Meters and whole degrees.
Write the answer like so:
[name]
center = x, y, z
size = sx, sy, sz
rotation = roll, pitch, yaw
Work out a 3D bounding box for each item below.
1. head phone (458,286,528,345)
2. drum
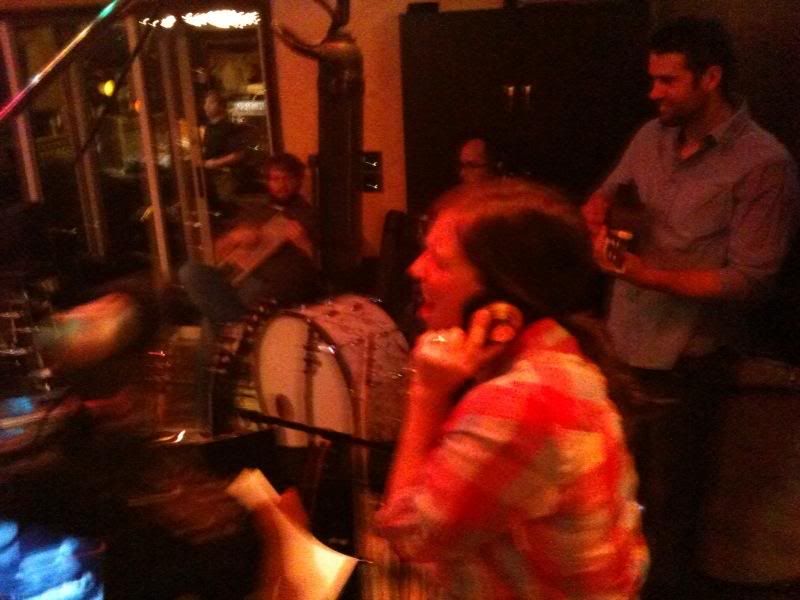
[head phone]
center = 0.187, 0.027, 1.305
size = 0.113, 0.094, 0.028
rotation = -3, 11, 17
[drum]
center = -0.133, 0.146, 1.460
size = 0.333, 0.362, 0.215
rotation = 9, 14, 42
